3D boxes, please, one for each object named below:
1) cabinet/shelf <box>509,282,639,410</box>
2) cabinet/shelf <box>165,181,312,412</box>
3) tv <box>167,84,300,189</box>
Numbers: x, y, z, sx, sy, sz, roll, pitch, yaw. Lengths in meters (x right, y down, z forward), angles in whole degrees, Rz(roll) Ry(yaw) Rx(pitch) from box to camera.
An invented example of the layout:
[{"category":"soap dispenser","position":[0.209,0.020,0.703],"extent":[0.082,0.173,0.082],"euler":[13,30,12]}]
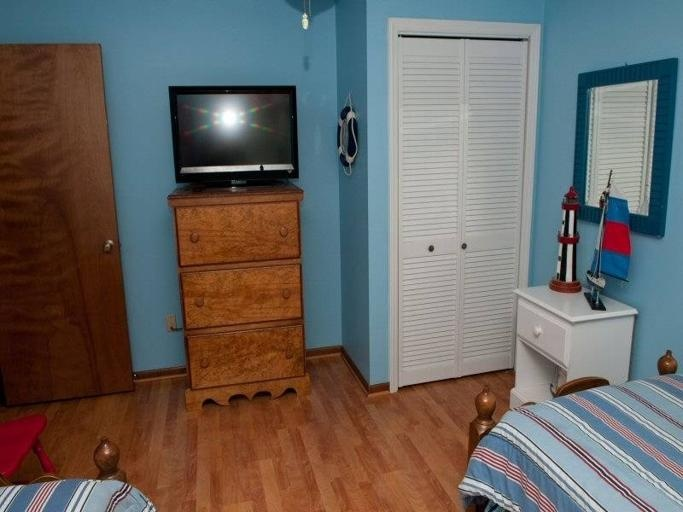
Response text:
[{"category":"cabinet/shelf","position":[1.321,0.645,3.148],"extent":[0.380,0.713,0.550],"euler":[-1,8,-17]},{"category":"cabinet/shelf","position":[-0.726,0.203,3.755],"extent":[1.000,1.541,0.844],"euler":[1,20,1]},{"category":"tv","position":[-0.704,-0.793,3.434],"extent":[0.660,0.550,0.077],"euler":[-2,9,-8]}]
